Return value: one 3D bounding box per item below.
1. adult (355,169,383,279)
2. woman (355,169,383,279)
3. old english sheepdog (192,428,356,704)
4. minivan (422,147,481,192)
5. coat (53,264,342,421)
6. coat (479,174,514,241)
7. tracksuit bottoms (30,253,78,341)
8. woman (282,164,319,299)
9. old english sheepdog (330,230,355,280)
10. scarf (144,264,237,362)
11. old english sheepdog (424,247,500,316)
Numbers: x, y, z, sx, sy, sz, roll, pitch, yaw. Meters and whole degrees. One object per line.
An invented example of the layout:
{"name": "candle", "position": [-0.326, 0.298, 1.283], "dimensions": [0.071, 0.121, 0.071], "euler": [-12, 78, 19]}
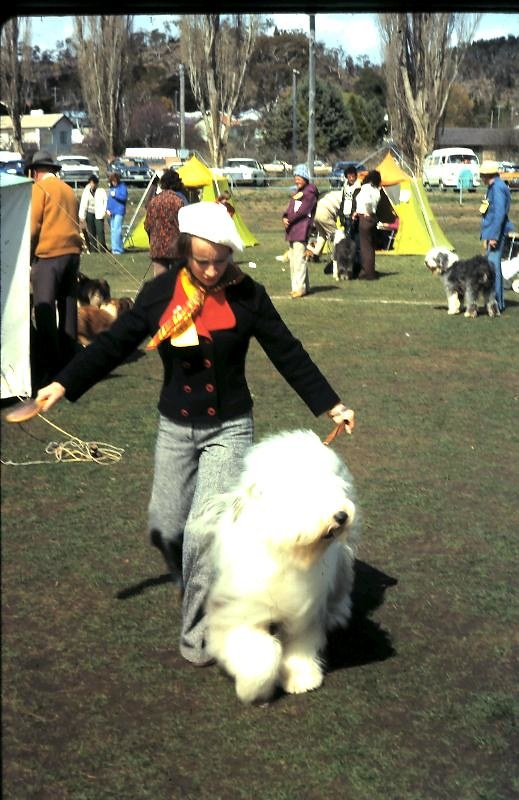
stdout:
{"name": "adult", "position": [1.975, -3.201, 15.414], "dimensions": [0.437, 1.966, 0.815], "euler": [-1, 12, 6]}
{"name": "woman", "position": [1.975, -3.202, 15.418], "dimensions": [0.437, 1.966, 0.822], "euler": [-1, 12, 6]}
{"name": "old english sheepdog", "position": [0.062, 0.649, 3.128], "dimensions": [0.611, 1.060, 0.642], "euler": [-1, 12, 6]}
{"name": "minivan", "position": [8.343, -10.154, 36.773], "dimensions": [2.094, 1.912, 3.266], "euler": [0, 11, 8]}
{"name": "coat", "position": [-0.239, -0.241, 3.379], "dimensions": [1.122, 0.607, 0.299], "euler": [1, 0, 1]}
{"name": "coat", "position": [3.177, -2.599, 11.403], "dimensions": [0.353, 0.910, 0.498], "euler": [1, 12, 14]}
{"name": "tracksuit bottoms", "position": [-1.915, -0.800, 7.728], "dimensions": [0.339, 1.061, 0.485], "euler": [9, 14, 4]}
{"name": "woman", "position": [0.588, -2.521, 12.531], "dimensions": [0.548, 1.878, 0.522], "euler": [3, 12, 0]}
{"name": "old english sheepdog", "position": [1.657, -2.781, 15.923], "dimensions": [0.334, 1.037, 1.093], "euler": [6, 13, 3]}
{"name": "scarf", "position": [-0.261, -0.339, 3.225], "dimensions": [0.208, 0.387, 0.077], "euler": [30, -16, 21]}
{"name": "old english sheepdog", "position": [2.842, -1.707, 11.937], "dimensions": [0.471, 1.025, 1.040], "euler": [-15, 12, -31]}
